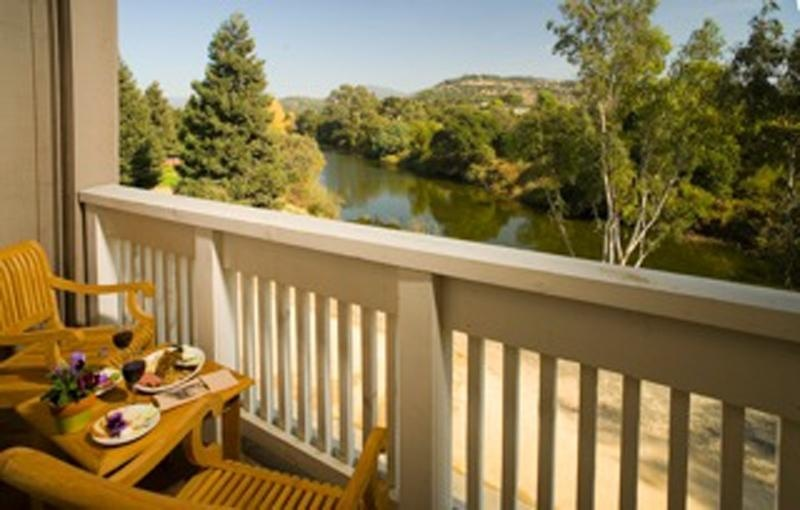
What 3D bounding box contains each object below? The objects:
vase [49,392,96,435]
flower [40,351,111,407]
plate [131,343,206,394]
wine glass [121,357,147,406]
[{"bbox_3d":[-1.251,0.581,2.356,0.125,0.103,0.125,8,10,27],"label":"vase"},{"bbox_3d":[-1.251,0.489,2.416,0.201,0.195,0.078,51,7,27],"label":"flower"},{"bbox_3d":[-0.957,0.473,2.597,0.167,0.045,0.209,13,35,17],"label":"plate"},{"bbox_3d":[-1.082,0.519,2.514,0.091,0.175,0.115,9,24,-16],"label":"wine glass"}]
